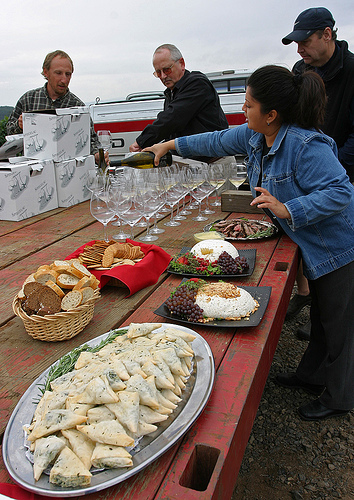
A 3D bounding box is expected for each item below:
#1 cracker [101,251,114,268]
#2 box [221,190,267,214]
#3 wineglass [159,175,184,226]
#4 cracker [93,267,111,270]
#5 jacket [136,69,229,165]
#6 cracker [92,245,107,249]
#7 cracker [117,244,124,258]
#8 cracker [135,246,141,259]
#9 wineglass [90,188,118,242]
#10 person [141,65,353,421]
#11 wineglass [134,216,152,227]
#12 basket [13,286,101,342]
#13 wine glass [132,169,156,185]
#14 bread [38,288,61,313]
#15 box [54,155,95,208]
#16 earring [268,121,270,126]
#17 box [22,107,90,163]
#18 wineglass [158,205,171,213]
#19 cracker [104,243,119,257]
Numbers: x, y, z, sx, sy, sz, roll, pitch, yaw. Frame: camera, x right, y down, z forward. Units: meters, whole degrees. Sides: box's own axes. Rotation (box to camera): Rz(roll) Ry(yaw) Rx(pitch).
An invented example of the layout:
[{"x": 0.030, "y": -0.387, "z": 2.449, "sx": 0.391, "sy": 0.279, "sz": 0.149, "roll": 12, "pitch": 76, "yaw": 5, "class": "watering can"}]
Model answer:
[{"x": -0.268, "y": 0.036, "z": 1.290, "sx": 0.043, "sy": 0.049, "sz": 0.050, "roll": -1, "pitch": 14, "yaw": -9, "class": "cracker"}, {"x": 0.394, "y": -0.308, "z": 2.175, "sx": 0.264, "sy": 0.115, "sz": 0.190, "roll": 5, "pitch": 18, "yaw": 15, "class": "box"}, {"x": -0.043, "y": -0.270, "z": 1.877, "sx": 0.105, "sy": 0.263, "sz": 0.119, "roll": 0, "pitch": 21, "yaw": -24, "class": "wineglass"}, {"x": -0.286, "y": 0.070, "z": 1.271, "sx": 0.058, "sy": 0.009, "sz": 0.017, "roll": 4, "pitch": 13, "yaw": 8, "class": "cracker"}, {"x": 0.084, "y": -1.370, "z": 3.614, "sx": 1.135, "sy": 1.152, "sz": 0.788, "roll": 7, "pitch": 20, "yaw": 20, "class": "jacket"}, {"x": -0.319, "y": -0.013, "z": 1.399, "sx": 0.055, "sy": 0.005, "sz": 0.011, "roll": 7, "pitch": 38, "yaw": 3, "class": "cracker"}, {"x": -0.229, "y": 0.006, "z": 1.347, "sx": 0.010, "sy": 0.039, "sz": 0.041, "roll": 26, "pitch": -21, "yaw": -24, "class": "cracker"}, {"x": -0.165, "y": 0.012, "z": 1.390, "sx": 0.016, "sy": 0.041, "sz": 0.030, "roll": 18, "pitch": 22, "yaw": 20, "class": "cracker"}, {"x": -0.339, "y": -0.153, "z": 1.603, "sx": 0.133, "sy": 0.269, "sz": 0.151, "roll": -1, "pitch": 14, "yaw": -6, "class": "wineglass"}, {"x": 0.367, "y": -0.043, "z": 1.988, "sx": 1.034, "sy": 1.672, "sz": 1.196, "roll": 7, "pitch": 16, "yaw": 10, "class": "person"}, {"x": -0.195, "y": -0.156, "z": 1.881, "sx": 0.082, "sy": 0.051, "sz": 0.080, "roll": 0, "pitch": 14, "yaw": 0, "class": "wineglass"}, {"x": -0.350, "y": 0.193, "z": 0.947, "sx": 0.237, "sy": 0.120, "sz": 0.143, "roll": 0, "pitch": 14, "yaw": -7, "class": "basket"}, {"x": -0.172, "y": -0.378, "z": 1.750, "sx": 0.125, "sy": 0.116, "sz": 0.121, "roll": -2, "pitch": 24, "yaw": -3, "class": "wine glass"}, {"x": -0.352, "y": 0.137, "z": 0.923, "sx": 0.059, "sy": 0.057, "sz": 0.036, "roll": 3, "pitch": 14, "yaw": 6, "class": "bread"}, {"x": -0.706, "y": -0.522, "z": 2.586, "sx": 0.449, "sy": 0.370, "sz": 0.155, "roll": -6, "pitch": -4, "yaw": 35, "class": "box"}, {"x": 0.416, "y": -0.572, "z": 1.523, "sx": 0.007, "sy": 0.014, "sz": 0.036, "roll": 5, "pitch": 14, "yaw": 14, "class": "earring"}, {"x": -0.913, "y": -0.915, "z": 2.619, "sx": 0.328, "sy": 0.353, "sz": 0.519, "roll": 3, "pitch": 21, "yaw": 8, "class": "box"}, {"x": -0.086, "y": -0.271, "z": 2.236, "sx": 0.105, "sy": 0.039, "sz": 0.102, "roll": 0, "pitch": 22, "yaw": 4, "class": "wineglass"}, {"x": -0.260, "y": -0.001, "z": 1.325, "sx": 0.041, "sy": 0.012, "sz": 0.040, "roll": -9, "pitch": 22, "yaw": 8, "class": "cracker"}]
